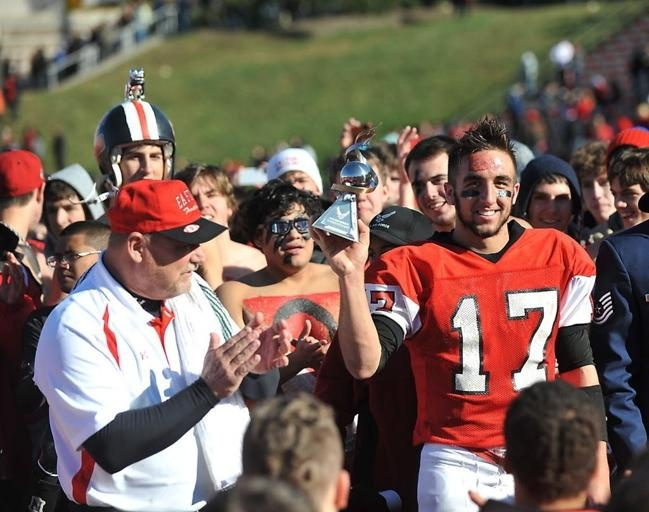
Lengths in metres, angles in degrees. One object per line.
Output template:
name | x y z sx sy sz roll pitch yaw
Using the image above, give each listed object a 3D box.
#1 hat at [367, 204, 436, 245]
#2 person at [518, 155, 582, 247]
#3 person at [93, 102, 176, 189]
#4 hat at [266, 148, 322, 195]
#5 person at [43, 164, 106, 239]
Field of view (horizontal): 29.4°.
hat | 0.651 -0.235 9.883 0.421 0.235 0.318 6 12 -13
person | 2.049 -0.495 11.065 0.609 0.812 0.661 3 5 -13
person | -1.591 -0.936 10.531 0.705 0.780 0.780 -3 8 -4
hat | -0.343 -0.878 12.390 0.490 0.508 0.670 -6 1 -8
person | -2.369 -0.439 11.603 0.494 0.675 0.719 -8 17 2
